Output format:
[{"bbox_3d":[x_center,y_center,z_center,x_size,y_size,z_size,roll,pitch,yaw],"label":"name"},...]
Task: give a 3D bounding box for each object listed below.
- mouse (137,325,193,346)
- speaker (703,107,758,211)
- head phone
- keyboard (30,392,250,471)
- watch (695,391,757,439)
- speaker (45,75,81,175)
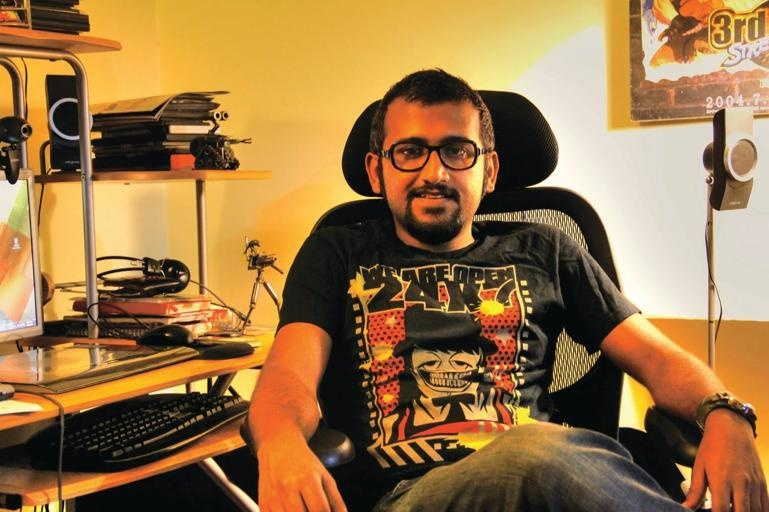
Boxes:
[{"bbox_3d":[-0.681,0.256,2.131,0.122,0.039,0.076,3,0,10],"label":"mouse"},{"bbox_3d":[1.180,-0.336,2.358,0.187,0.329,0.164,4,9,45],"label":"speaker"},{"bbox_3d":[-0.858,0.079,2.558,0.327,0.101,0.282,-6,-9,8],"label":"head phone"},{"bbox_3d":[-0.740,0.501,2.013,0.441,0.114,0.561,1,4,34],"label":"keyboard"},{"bbox_3d":[0.867,0.388,1.714,0.120,0.046,0.119,42,-20,-26],"label":"watch"},{"bbox_3d":[-1.166,-0.490,2.467,0.106,0.333,0.140,14,23,30],"label":"speaker"}]
